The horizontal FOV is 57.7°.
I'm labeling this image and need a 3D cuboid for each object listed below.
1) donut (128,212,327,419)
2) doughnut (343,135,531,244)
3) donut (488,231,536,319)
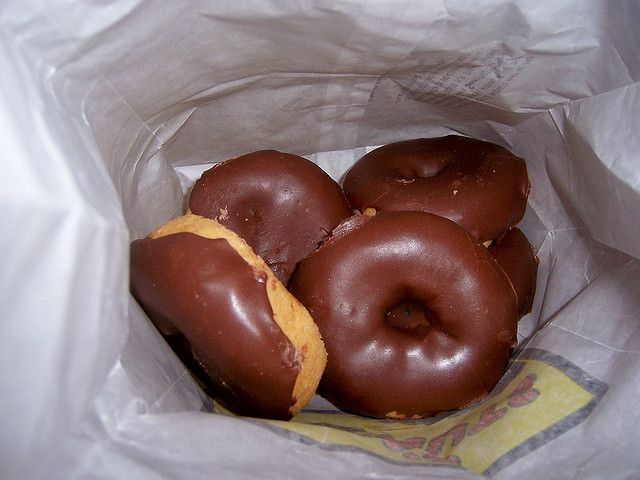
[{"bbox_3d":[-0.146,0.099,0.844,0.322,0.178,0.175,28,68,18],"label":"donut"},{"bbox_3d":[0.232,-0.114,1.059,0.231,0.091,0.240,-19,44,-6],"label":"doughnut"},{"bbox_3d":[0.371,0.068,1.072,0.112,0.048,0.140,-7,89,-38],"label":"donut"}]
